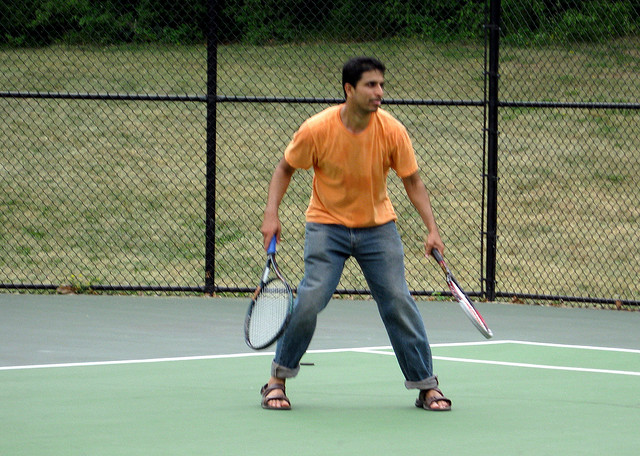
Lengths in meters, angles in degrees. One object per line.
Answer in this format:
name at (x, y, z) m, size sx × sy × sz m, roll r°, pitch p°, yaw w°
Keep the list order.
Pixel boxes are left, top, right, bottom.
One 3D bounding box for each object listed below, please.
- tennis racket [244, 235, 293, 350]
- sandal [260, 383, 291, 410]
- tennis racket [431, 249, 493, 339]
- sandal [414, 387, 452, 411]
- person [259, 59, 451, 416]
tennis racket at (-0.388, 0.393, 6.293) m, size 0.421 × 0.071 × 1.175 m, roll -17°, pitch 51°, yaw 30°
sandal at (-0.341, 1.289, 6.325) m, size 0.247 × 0.190 × 0.213 m, roll 2°, pitch 9°, yaw 4°
tennis racket at (1.081, 0.523, 6.338) m, size 0.451 × 0.722 × 0.892 m, roll 2°, pitch 9°, yaw 8°
sandal at (0.868, 1.341, 6.345) m, size 0.125 × 0.131 × 0.278 m, roll 1°, pitch -8°, yaw -22°
person at (0.266, 0.066, 6.236) m, size 1.394 × 2.656 × 0.423 m, roll 1°, pitch 8°, yaw 2°
